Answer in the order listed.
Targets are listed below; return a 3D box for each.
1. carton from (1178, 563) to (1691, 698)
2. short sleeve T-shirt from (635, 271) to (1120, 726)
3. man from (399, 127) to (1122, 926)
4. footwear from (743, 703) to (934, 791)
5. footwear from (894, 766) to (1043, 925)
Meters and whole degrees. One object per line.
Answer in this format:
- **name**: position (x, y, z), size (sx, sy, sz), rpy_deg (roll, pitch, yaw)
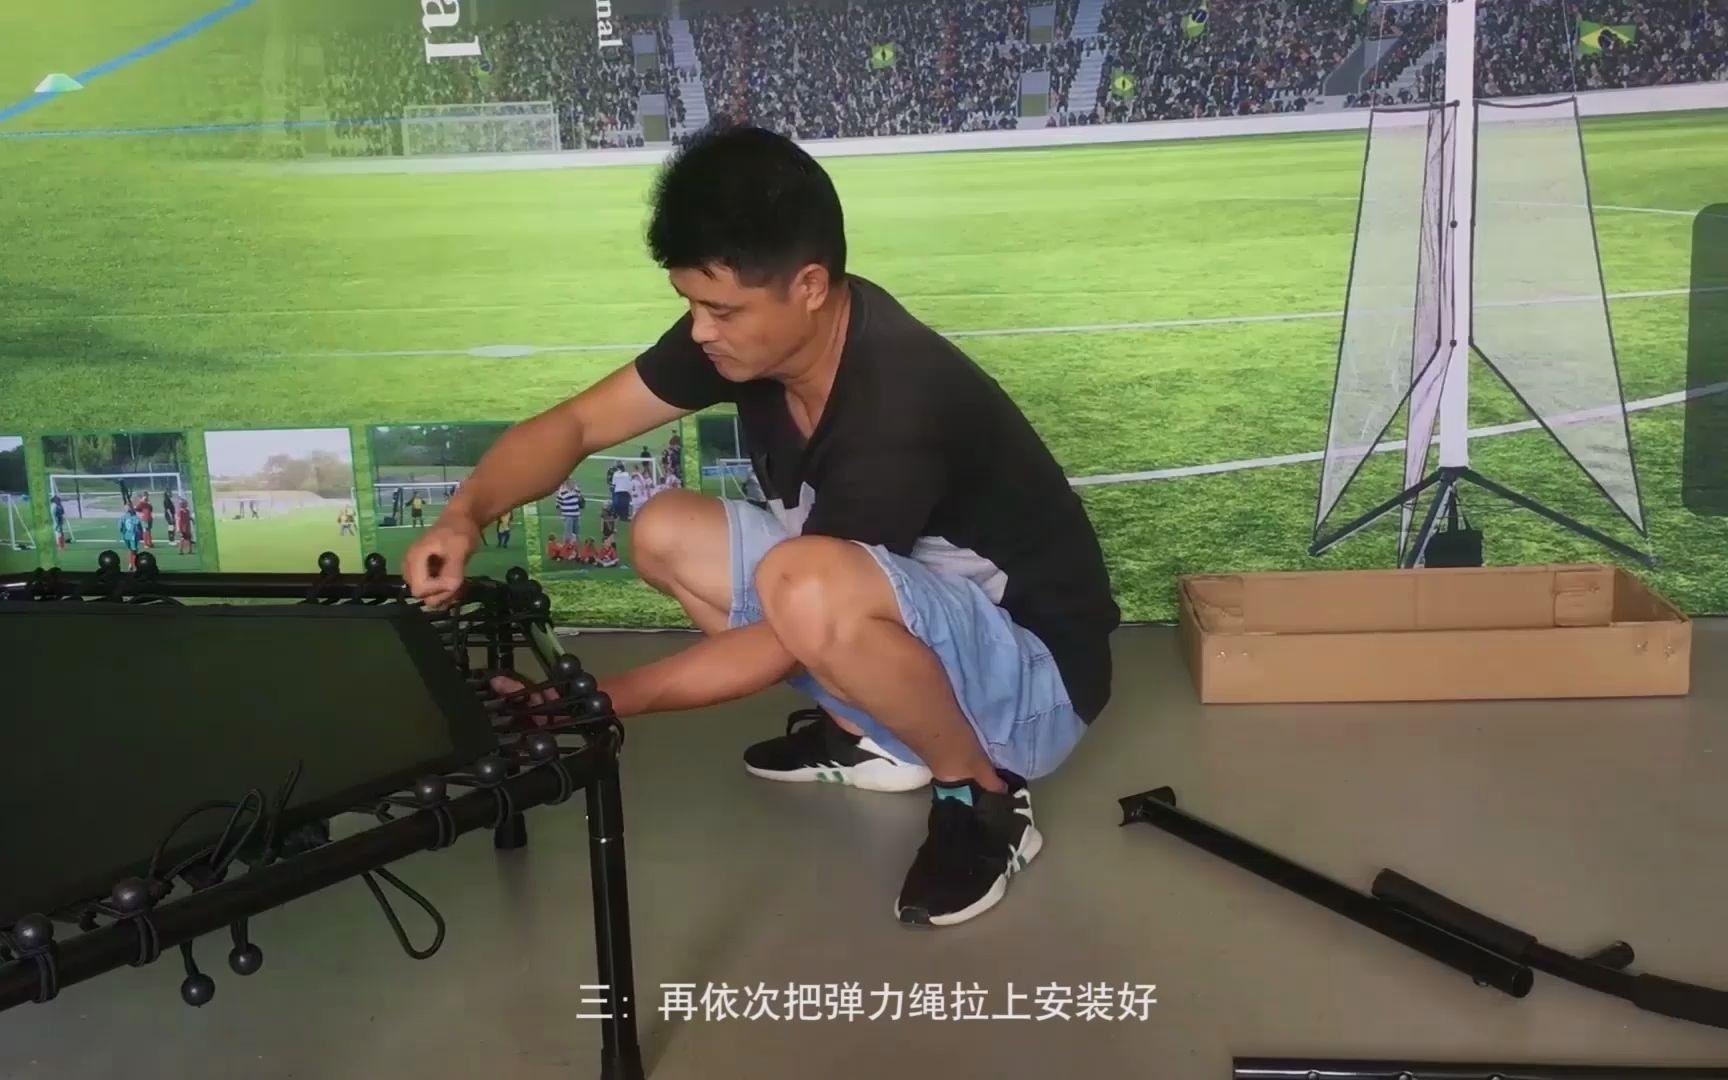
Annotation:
- **carton**: position (1.424, 0.242, 3.015), size (0.875, 0.172, 0.520), rpy_deg (-2, 8, 5)
- **short sleeve T-shirt**: position (0.100, -0.116, 2.552), size (1.019, 0.708, 0.734), rpy_deg (7, 15, -20)
- **man**: position (-0.172, -0.066, 2.460), size (1.123, 1.378, 1.179), rpy_deg (14, 21, 42)
- **footwear**: position (-0.074, 0.435, 2.758), size (0.450, 0.200, 0.162), rpy_deg (3, 6, 13)
- **footwear**: position (0.198, 0.559, 2.334), size (0.202, 0.226, 0.423), rpy_deg (-2, 19, 28)
